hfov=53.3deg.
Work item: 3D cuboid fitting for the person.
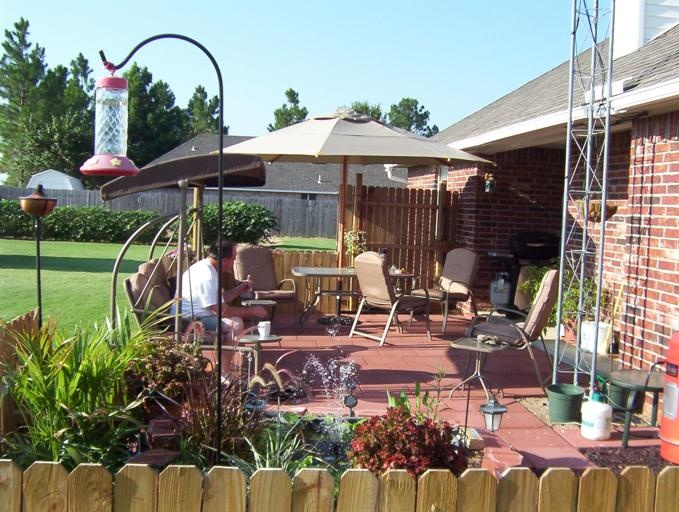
[{"bbox_3d":[-1.274,0.624,7.212,0.837,1.620,0.639,0,4,12],"label":"person"}]

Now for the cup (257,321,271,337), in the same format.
[{"bbox_3d":[-0.715,0.689,6.596,0.145,0.194,0.150,1,-1,0],"label":"cup"}]

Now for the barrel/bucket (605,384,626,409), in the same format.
[{"bbox_3d":[2.650,1.329,6.427,0.213,0.204,0.215,2,0,0],"label":"barrel/bucket"}]

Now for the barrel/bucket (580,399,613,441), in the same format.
[{"bbox_3d":[2.211,1.398,6.001,0.271,0.381,0.298,-1,7,-8],"label":"barrel/bucket"}]

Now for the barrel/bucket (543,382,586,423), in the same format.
[{"bbox_3d":[2.094,1.359,6.300,0.314,0.288,0.297,0,-4,0],"label":"barrel/bucket"}]
